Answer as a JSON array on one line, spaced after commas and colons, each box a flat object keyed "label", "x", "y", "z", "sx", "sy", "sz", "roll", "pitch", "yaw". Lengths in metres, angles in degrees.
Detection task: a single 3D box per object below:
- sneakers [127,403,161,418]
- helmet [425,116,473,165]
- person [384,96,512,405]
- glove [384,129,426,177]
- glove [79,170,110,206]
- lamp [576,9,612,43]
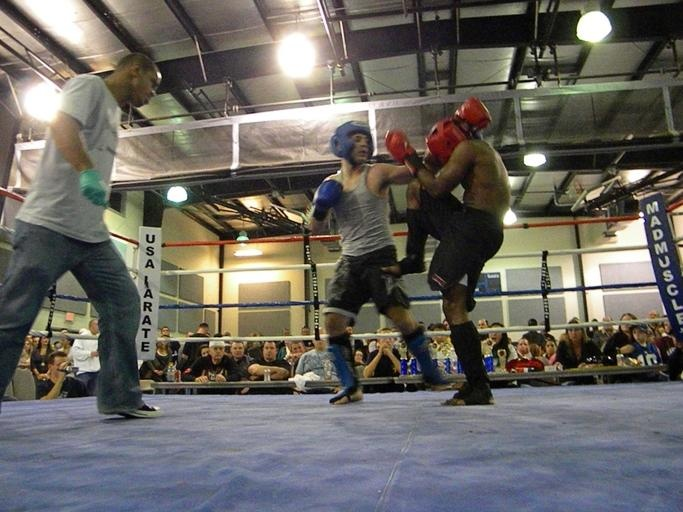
[{"label": "sneakers", "x": -0.848, "y": 0.670, "z": 2.055, "sx": 0.143, "sy": 0.045, "sz": 0.046, "roll": 2, "pitch": -13, "yaw": -11}, {"label": "helmet", "x": 0.510, "y": -0.575, "z": 2.448, "sx": 0.259, "sy": 0.224, "sz": 0.192, "roll": -11, "pitch": 11, "yaw": -5}, {"label": "person", "x": 0.559, "y": -0.064, "z": 2.449, "sx": 0.604, "sy": 1.591, "sz": 0.550, "roll": -14, "pitch": -19, "yaw": 38}, {"label": "glove", "x": 0.316, "y": -0.553, "z": 2.501, "sx": 0.214, "sy": 0.248, "sz": 0.111, "roll": -2, "pitch": -2, "yaw": -7}, {"label": "glove", "x": -0.942, "y": -0.251, "z": 1.836, "sx": 0.086, "sy": 0.135, "sz": 0.183, "roll": -1, "pitch": -12, "yaw": -5}, {"label": "lamp", "x": 2.644, "y": -2.413, "z": 5.031, "sx": 0.328, "sy": 0.266, "sz": 0.276, "roll": 4, "pitch": -14, "yaw": -26}]
